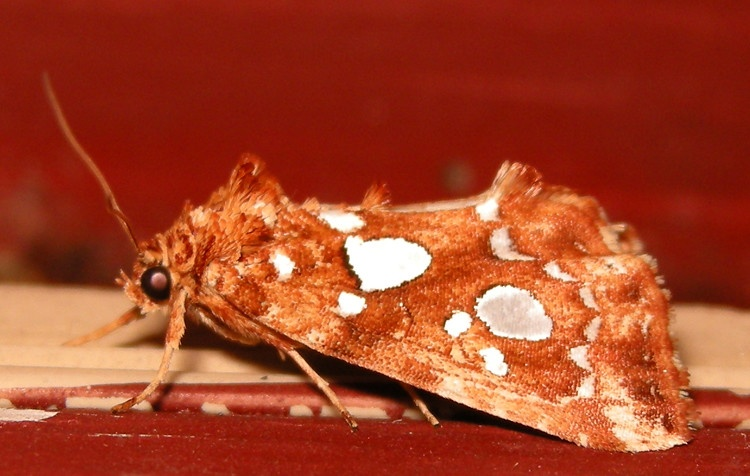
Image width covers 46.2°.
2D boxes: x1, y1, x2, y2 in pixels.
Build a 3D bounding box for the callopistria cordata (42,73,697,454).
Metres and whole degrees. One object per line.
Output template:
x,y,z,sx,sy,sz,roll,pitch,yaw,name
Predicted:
0.022,0.057,3.240,2.110,0.951,1.274,0,22,-5,callopistria cordata
